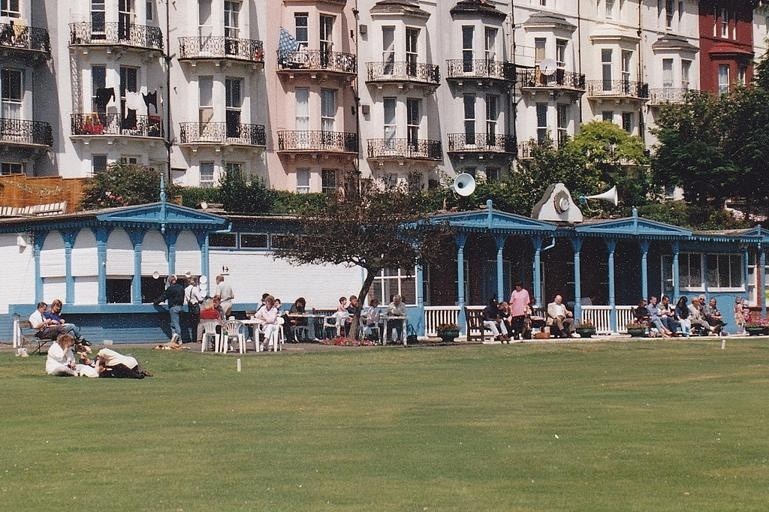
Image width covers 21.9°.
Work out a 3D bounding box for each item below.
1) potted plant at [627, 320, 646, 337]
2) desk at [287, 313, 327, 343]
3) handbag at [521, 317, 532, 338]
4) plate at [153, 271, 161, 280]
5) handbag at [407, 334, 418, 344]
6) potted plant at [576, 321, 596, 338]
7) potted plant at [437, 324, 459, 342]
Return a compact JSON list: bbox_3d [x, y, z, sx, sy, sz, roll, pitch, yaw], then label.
[{"bbox_3d":[11.331,3.206,89.554,0.714,0.441,0.677,-4,-6,31],"label":"potted plant"},{"bbox_3d":[-3.415,3.029,85.933,1.432,0.656,1.353,0,-4,-11],"label":"desk"},{"bbox_3d":[6.293,3.034,86.880,0.175,0.944,0.522,-3,-4,35],"label":"handbag"},{"bbox_3d":[-9.690,0.751,84.741,0.312,0.303,0.473,-1,-3,3],"label":"plate"},{"bbox_3d":[1.220,3.482,84.553,0.313,0.351,0.576,-7,-7,43],"label":"handbag"},{"bbox_3d":[9.048,3.243,88.846,0.694,0.445,0.669,-4,-4,18],"label":"potted plant"},{"bbox_3d":[2.766,3.191,84.294,0.769,0.533,0.813,-2,2,-37],"label":"potted plant"}]
